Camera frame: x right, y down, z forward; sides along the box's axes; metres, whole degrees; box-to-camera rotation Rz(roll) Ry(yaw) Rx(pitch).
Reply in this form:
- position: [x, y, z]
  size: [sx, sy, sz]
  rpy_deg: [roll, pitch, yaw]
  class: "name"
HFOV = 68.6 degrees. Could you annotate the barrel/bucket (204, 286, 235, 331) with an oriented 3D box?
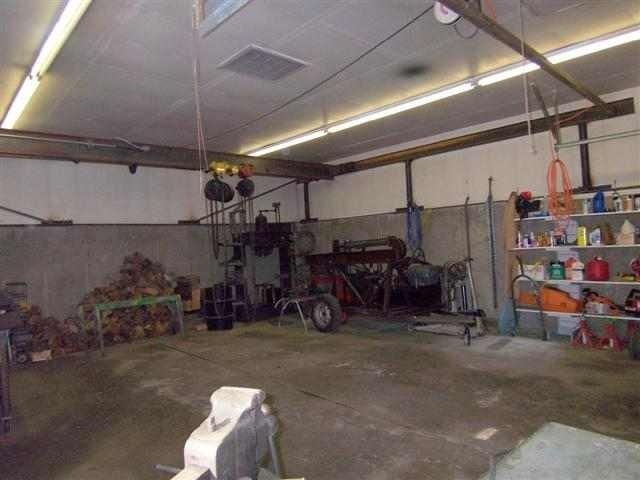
- position: [-2.322, 1.556, 10.632]
  size: [0.741, 1.111, 0.759]
  rpy_deg: [-4, -4, 0]
  class: "barrel/bucket"
